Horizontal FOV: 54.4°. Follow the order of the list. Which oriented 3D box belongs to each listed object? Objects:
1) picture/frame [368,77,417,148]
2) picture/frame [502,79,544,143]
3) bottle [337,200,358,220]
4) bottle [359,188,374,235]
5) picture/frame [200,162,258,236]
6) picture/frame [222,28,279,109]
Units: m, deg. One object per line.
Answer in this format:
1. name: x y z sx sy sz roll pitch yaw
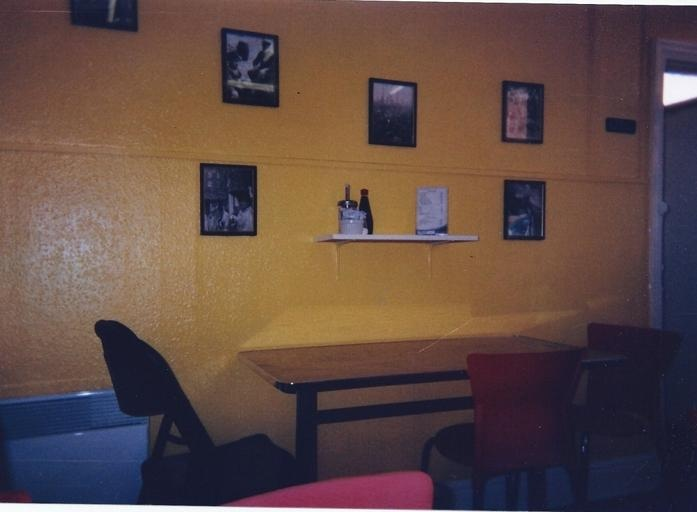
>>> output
1. picture/frame: 0.176 -0.573 2.699 0.274 0.327 0.021 0 8 -17
2. picture/frame: 0.709 -0.591 2.744 0.245 0.292 0.020 -1 9 -11
3. bottle: -0.002 -0.178 2.658 0.073 0.072 0.075 2 1 30
4. bottle: 0.073 -0.179 2.703 0.037 0.180 0.065 2 6 36
5. picture/frame: -0.456 -0.208 2.546 0.276 0.353 0.023 0 3 -23
6. picture/frame: -0.372 -0.719 2.551 0.305 0.355 0.013 -2 9 -24
